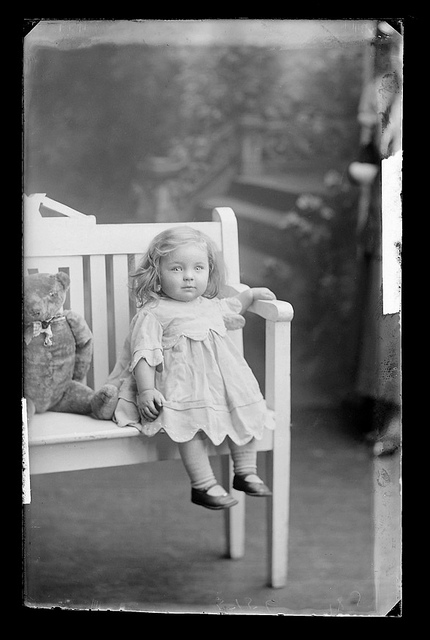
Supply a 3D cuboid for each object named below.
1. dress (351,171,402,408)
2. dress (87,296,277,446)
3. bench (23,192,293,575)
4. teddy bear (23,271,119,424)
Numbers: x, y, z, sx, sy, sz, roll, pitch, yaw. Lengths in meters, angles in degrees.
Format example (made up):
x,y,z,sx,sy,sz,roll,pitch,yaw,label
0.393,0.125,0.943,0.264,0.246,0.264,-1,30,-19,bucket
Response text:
x,y,z,sx,sy,sz,roll,pitch,yaw,label
0.339,-0.063,1.552,0.103,0.466,0.068,5,10,25,dress
-0.045,0.047,1.476,0.309,0.212,0.315,2,5,-16,dress
-0.117,0.148,1.548,0.788,0.784,0.278,1,0,-25,bench
-0.335,0.057,1.494,0.224,0.288,0.195,-8,13,-33,teddy bear
